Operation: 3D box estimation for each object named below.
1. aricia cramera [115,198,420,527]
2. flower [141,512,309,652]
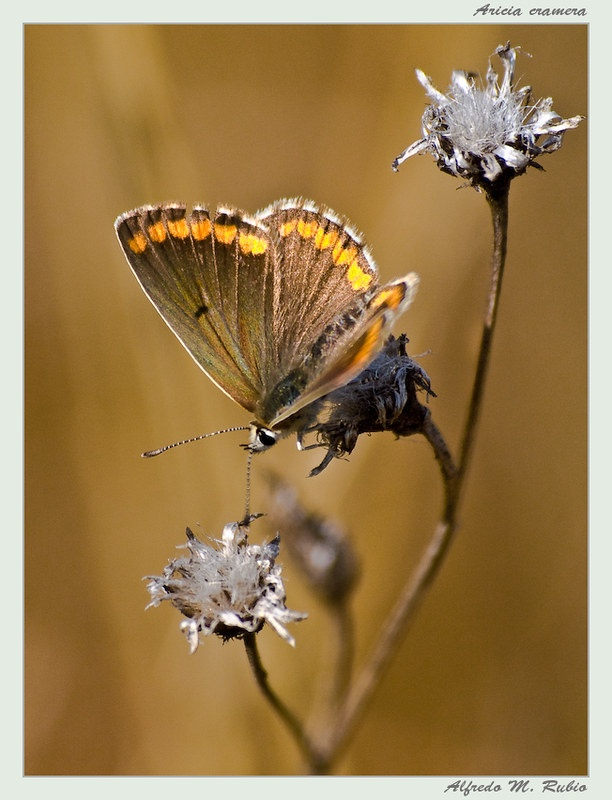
[{"bbox_3d":[0.004,-0.153,1.813,0.522,0.444,0.349,-1,15,36],"label":"aricia cramera"},{"bbox_3d":[-0.135,0.305,1.672,0.222,0.137,0.222,-12,12,-9],"label":"flower"}]
